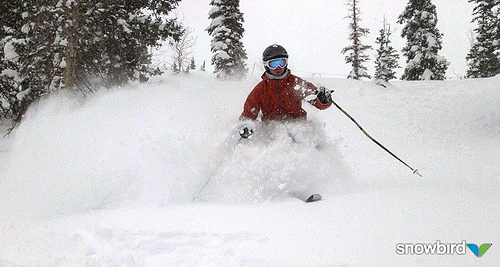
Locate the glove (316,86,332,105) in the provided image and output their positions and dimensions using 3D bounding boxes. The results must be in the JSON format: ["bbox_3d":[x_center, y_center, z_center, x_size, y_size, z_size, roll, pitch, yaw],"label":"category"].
[{"bbox_3d":[2.833,-1.438,15.176,0.542,0.695,0.263,1,13,6],"label":"glove"}]

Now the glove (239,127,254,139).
[{"bbox_3d":[-0.106,-0.017,15.231,0.540,0.444,0.209,-1,13,-4],"label":"glove"}]
